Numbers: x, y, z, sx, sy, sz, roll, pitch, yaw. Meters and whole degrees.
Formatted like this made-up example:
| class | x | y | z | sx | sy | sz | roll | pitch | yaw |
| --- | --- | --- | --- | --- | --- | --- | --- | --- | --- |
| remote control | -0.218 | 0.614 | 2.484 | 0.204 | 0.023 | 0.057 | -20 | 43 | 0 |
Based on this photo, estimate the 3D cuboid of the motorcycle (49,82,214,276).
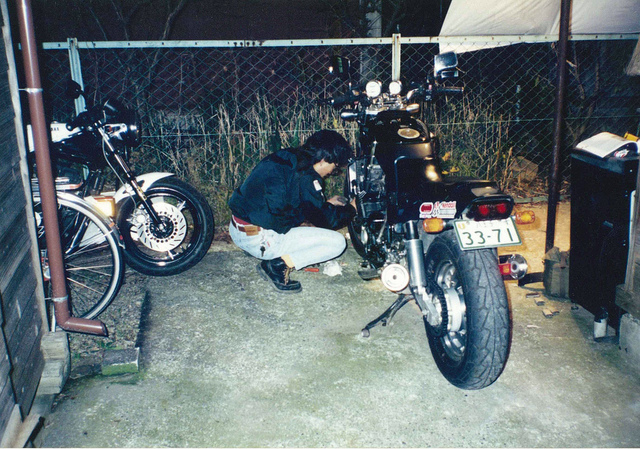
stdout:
| class | x | y | z | sx | sy | sz | roll | pitch | yaw |
| --- | --- | --- | --- | --- | --- | --- | --- | --- | --- |
| motorcycle | -1.752 | -0.306 | 4.821 | 1.246 | 1.714 | 0.478 | 0 | 22 | 9 |
